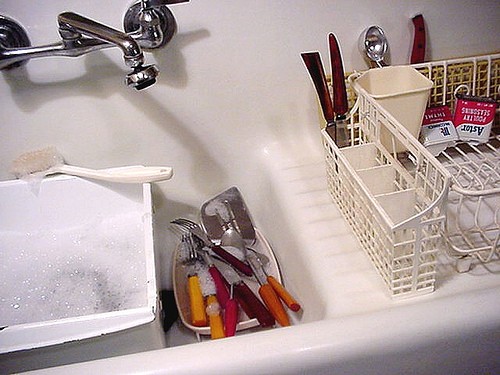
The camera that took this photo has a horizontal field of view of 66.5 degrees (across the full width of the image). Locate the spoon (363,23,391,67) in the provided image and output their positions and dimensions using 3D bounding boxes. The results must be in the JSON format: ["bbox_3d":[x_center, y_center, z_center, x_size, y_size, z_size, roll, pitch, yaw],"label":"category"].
[{"bbox_3d":[0.288,-0.323,0.876,0.059,0.100,0.019,-20,14,-11],"label":"spoon"}]

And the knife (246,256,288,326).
[{"bbox_3d":[0.022,0.191,0.752,0.033,0.033,0.199,9,28,-22],"label":"knife"}]

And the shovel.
[{"bbox_3d":[-0.024,0.097,0.768,0.108,0.048,0.328,-19,45,-12],"label":"shovel"}]

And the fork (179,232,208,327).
[{"bbox_3d":[-0.106,0.175,0.730,0.040,0.035,0.199,-5,49,-7],"label":"fork"}]

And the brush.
[{"bbox_3d":[-0.322,-0.026,0.812,0.328,0.050,0.122,3,28,3],"label":"brush"}]

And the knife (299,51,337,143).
[{"bbox_3d":[0.132,-0.180,0.704,0.041,0.216,0.023,-18,25,4],"label":"knife"}]

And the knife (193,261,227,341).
[{"bbox_3d":[-0.071,0.204,0.691,0.034,0.028,0.169,-20,40,4],"label":"knife"}]

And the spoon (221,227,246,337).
[{"bbox_3d":[-0.029,0.158,0.701,0.037,0.018,0.179,4,47,-7],"label":"spoon"}]

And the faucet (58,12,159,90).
[{"bbox_3d":[-0.284,-0.275,0.753,0.199,0.070,0.055,35,53,13],"label":"faucet"}]
